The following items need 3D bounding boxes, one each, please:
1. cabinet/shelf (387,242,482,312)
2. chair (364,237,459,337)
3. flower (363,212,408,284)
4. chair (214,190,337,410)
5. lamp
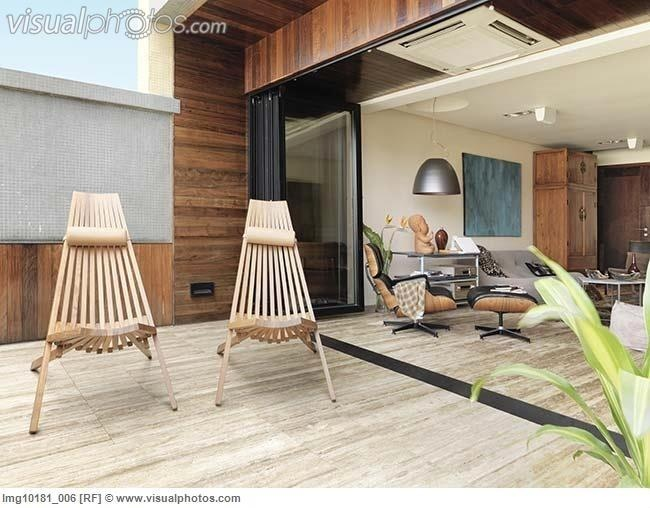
[{"bbox_3d":[1.638,0.333,5.965,1.405,0.774,0.739,-2,4,-34],"label":"cabinet/shelf"},{"bbox_3d":[0.963,0.412,4.595,1.095,0.839,0.794,4,-1,2],"label":"chair"},{"bbox_3d":[0.963,-0.123,5.730,0.908,0.812,0.908,-3,3,-7],"label":"flower"},{"bbox_3d":[-0.428,0.239,3.227,0.911,1.331,1.696,0,4,-5],"label":"chair"},{"bbox_3d":[1.658,-1.546,6.009,0.628,1.380,0.882,1,5,12],"label":"lamp"}]
